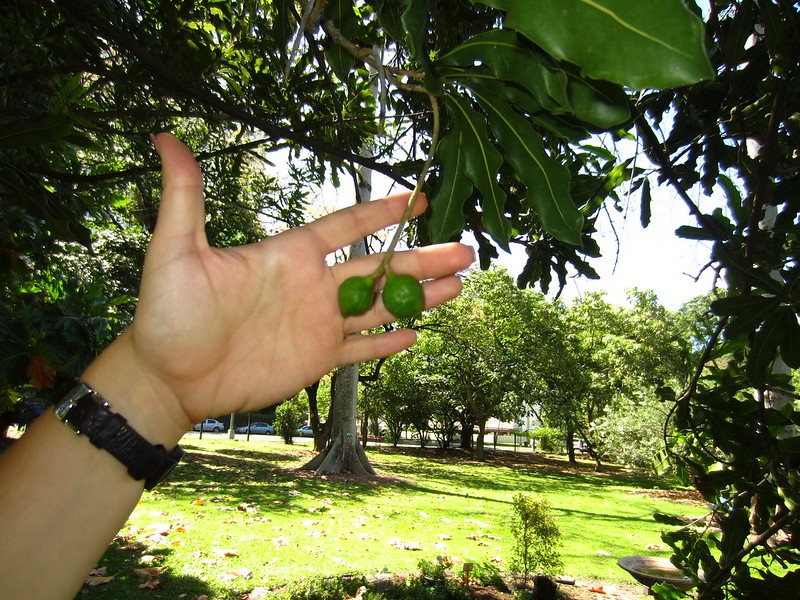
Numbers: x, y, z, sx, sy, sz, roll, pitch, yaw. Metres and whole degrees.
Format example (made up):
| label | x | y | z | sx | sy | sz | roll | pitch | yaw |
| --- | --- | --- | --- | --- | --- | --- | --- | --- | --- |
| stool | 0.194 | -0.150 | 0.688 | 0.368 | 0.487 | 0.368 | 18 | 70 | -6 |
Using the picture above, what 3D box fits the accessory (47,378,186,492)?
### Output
| label | x | y | z | sx | sy | sz | roll | pitch | yaw |
| --- | --- | --- | --- | --- | --- | --- | --- | --- | --- |
| accessory | -1.039 | 0.497 | 1.971 | 0.459 | 0.299 | 0.463 | 26 | -18 | 42 |
